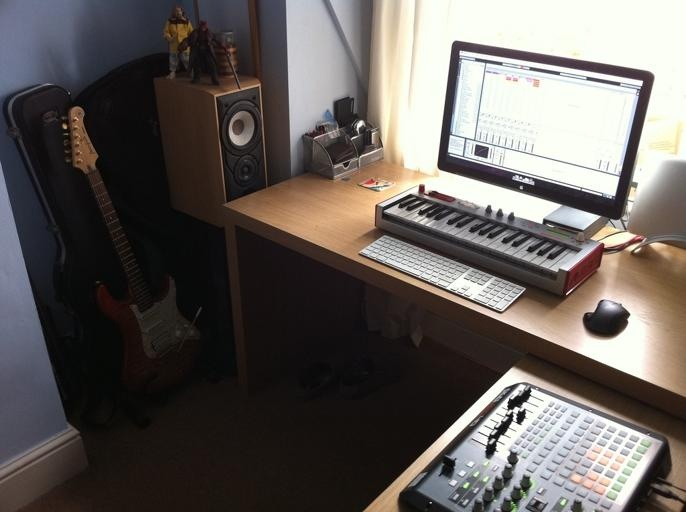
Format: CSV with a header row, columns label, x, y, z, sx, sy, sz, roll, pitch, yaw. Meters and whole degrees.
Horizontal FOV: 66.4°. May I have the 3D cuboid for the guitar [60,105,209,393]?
label,x,y,z,sx,sy,sz,roll,pitch,yaw
guitar,-0.876,0.048,2.119,0.153,1.295,0.389,22,43,35

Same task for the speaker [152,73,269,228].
label,x,y,z,sx,sy,sz,roll,pitch,yaw
speaker,-0.535,-0.467,2.229,0.334,0.544,0.271,18,32,28

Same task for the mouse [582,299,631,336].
label,x,y,z,sx,sy,sz,roll,pitch,yaw
mouse,0.753,0.179,1.495,0.118,0.046,0.129,18,39,23
